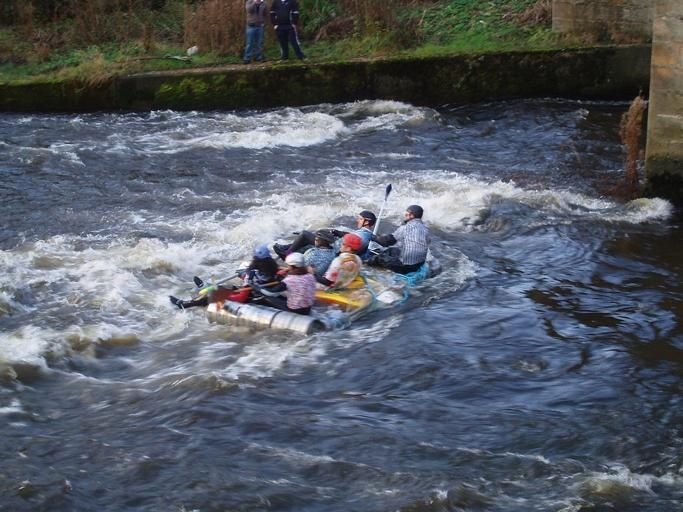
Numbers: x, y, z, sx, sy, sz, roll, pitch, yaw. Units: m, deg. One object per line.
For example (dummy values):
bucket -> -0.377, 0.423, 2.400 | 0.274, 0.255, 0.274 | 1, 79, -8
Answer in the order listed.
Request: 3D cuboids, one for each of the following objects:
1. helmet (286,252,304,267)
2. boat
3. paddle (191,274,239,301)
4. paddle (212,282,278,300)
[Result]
helmet -> -0.737, 0.070, 13.442 | 0.294, 0.223, 0.199 | -1, 20, -3
boat -> -0.012, 0.753, 13.811 | 1.807, 0.270, 2.431 | 15, 22, 42
paddle -> -2.082, 0.504, 13.900 | 0.927, 0.191, 0.380 | -20, 38, -39
paddle -> -1.566, 0.574, 13.777 | 1.019, 0.308, 0.330 | -1, 25, 0
